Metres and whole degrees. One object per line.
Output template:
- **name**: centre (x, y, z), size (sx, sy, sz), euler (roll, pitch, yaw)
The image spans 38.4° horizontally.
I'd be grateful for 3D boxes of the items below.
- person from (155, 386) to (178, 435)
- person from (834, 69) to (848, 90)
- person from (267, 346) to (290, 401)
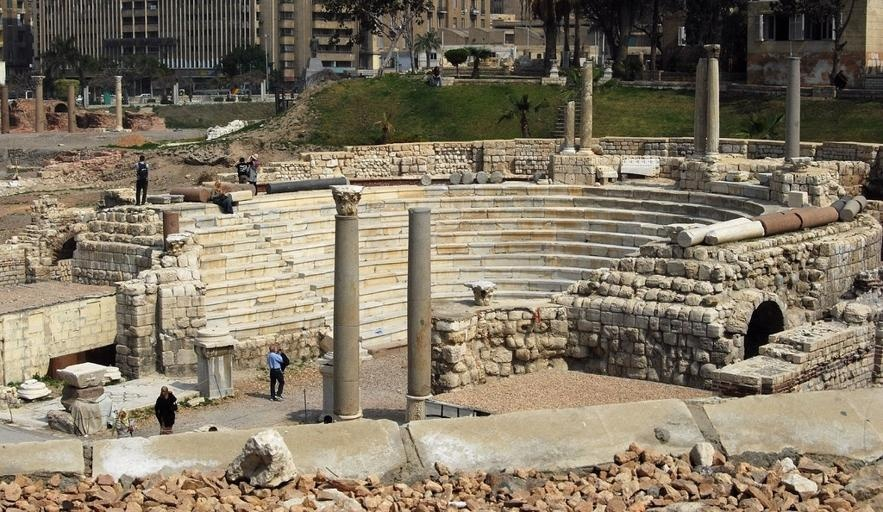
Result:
- **person**: centre (-9.253, 5.120, 42.666), size (0.637, 1.523, 1.152), euler (-3, 8, -15)
- **person**: centre (23.701, -10.570, 75.296), size (0.642, 0.968, 1.250), euler (3, 9, 24)
- **person**: centre (-5.868, 4.188, 45.626), size (0.675, 1.659, 1.425), euler (-1, 8, -8)
